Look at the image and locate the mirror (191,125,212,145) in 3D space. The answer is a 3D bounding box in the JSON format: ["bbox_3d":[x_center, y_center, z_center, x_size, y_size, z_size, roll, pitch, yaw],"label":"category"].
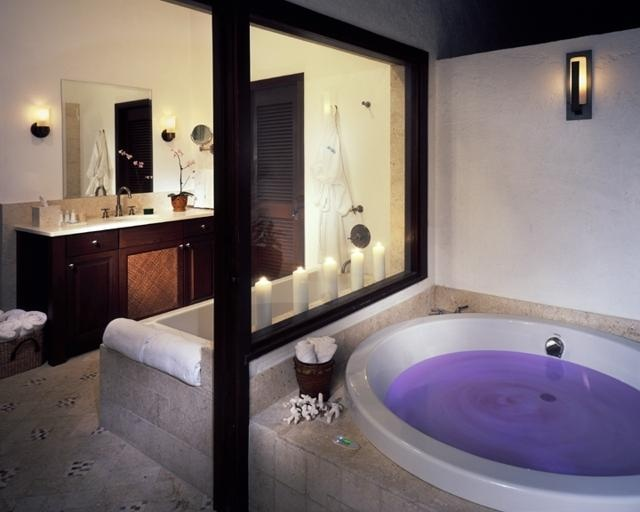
[{"bbox_3d":[-1.352,-1.375,5.335,0.224,0.237,0.102,-6,14,-16],"label":"mirror"}]

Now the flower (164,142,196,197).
[{"bbox_3d":[-1.552,-0.957,5.296,0.248,0.595,0.261,-3,-9,13],"label":"flower"}]

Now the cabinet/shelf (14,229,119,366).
[{"bbox_3d":[-2.089,0.210,3.980,0.541,1.111,0.774,10,12,21],"label":"cabinet/shelf"}]

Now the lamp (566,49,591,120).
[{"bbox_3d":[1.434,-0.936,2.567,0.152,0.370,0.185,5,15,27],"label":"lamp"}]

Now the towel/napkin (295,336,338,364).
[{"bbox_3d":[-0.022,0.435,2.162,0.121,0.060,0.128,1,4,17],"label":"towel/napkin"}]

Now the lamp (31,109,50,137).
[{"bbox_3d":[-2.378,-1.116,3.965,0.056,0.246,0.150,7,16,33],"label":"lamp"}]

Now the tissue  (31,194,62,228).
[{"bbox_3d":[-2.278,-0.365,3.873,0.167,0.377,0.252,2,5,29],"label":"tissue "}]

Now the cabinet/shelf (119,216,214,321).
[{"bbox_3d":[-1.488,0.075,4.659,0.398,0.908,1.134,9,14,41],"label":"cabinet/shelf"}]

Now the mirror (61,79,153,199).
[{"bbox_3d":[-2.057,-1.114,4.438,0.048,1.234,1.125,3,5,24],"label":"mirror"}]

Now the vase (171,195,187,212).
[{"bbox_3d":[-1.502,-0.562,5.005,0.160,0.183,0.183,-7,15,-18],"label":"vase"}]

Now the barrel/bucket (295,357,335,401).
[{"bbox_3d":[-0.021,0.554,2.249,0.170,0.210,0.183,0,2,0],"label":"barrel/bucket"}]

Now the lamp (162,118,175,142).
[{"bbox_3d":[-1.642,-1.366,5.069,0.049,0.276,0.161,9,17,40],"label":"lamp"}]
